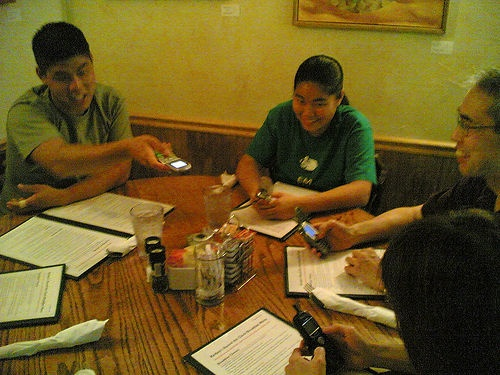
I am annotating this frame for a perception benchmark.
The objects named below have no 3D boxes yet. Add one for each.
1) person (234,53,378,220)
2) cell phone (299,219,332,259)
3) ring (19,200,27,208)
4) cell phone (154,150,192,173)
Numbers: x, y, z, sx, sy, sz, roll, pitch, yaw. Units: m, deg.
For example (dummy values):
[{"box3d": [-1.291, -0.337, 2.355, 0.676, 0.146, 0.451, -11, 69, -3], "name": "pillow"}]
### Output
[{"box3d": [0.379, -0.321, 2.426, 0.812, 0.871, 0.726, 15, 48, 20], "name": "person"}, {"box3d": [0.277, 0.213, 1.766, 0.179, 0.091, 0.072, 45, 34, 8], "name": "cell phone"}, {"box3d": [-1.139, 0.082, 2.004, 0.032, 0.022, 0.031, -1, 15, 0], "name": "ring"}, {"box3d": [-0.398, -0.121, 2.046, 0.131, 0.070, 0.252, -10, 26, -20], "name": "cell phone"}]
